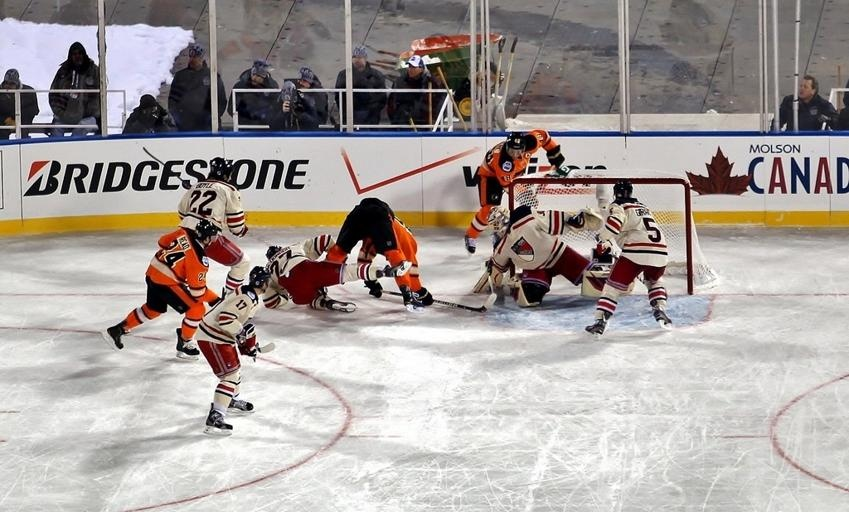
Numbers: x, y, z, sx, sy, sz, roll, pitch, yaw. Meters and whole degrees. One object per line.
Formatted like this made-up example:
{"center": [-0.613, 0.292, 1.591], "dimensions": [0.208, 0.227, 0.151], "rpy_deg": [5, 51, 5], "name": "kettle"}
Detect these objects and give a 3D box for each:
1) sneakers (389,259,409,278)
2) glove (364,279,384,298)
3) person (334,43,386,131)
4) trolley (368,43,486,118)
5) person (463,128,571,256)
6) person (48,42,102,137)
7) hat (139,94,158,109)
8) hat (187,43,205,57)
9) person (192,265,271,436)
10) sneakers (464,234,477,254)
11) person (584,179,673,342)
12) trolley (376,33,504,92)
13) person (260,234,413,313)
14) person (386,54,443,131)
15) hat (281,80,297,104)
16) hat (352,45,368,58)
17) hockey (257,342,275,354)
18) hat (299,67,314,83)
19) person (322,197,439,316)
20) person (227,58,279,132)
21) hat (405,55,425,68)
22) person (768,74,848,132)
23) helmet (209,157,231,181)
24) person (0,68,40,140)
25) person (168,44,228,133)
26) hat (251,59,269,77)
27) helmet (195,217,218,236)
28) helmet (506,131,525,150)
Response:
{"center": [-0.249, 0.125, 10.696], "dimensions": [0.281, 0.105, 0.100], "rpy_deg": [-22, -43, 27], "name": "sneakers"}
{"center": [-0.569, 0.334, 11.384], "dimensions": [0.107, 0.296, 0.131], "rpy_deg": [-37, 31, -2], "name": "glove"}
{"center": [-0.929, -2.435, 14.692], "dimensions": [0.744, 1.077, 0.261], "rpy_deg": [2, 8, -6], "name": "person"}
{"center": [0.059, -2.636, 15.273], "dimensions": [1.865, 0.745, 1.063], "rpy_deg": [1, 30, -2], "name": "trolley"}
{"center": [1.204, -0.901, 13.389], "dimensions": [1.486, 1.825, 1.098], "rpy_deg": [-7, 30, -1], "name": "person"}
{"center": [-5.028, -2.379, 14.589], "dimensions": [0.770, 1.296, 0.317], "rpy_deg": [3, 8, -3], "name": "person"}
{"center": [-4.036, -2.246, 14.832], "dimensions": [0.255, 0.200, 0.184], "rpy_deg": [1, 7, -16], "name": "hat"}
{"center": [-3.275, -2.899, 14.517], "dimensions": [0.213, 0.170, 0.160], "rpy_deg": [3, 7, 0], "name": "hat"}
{"center": [-1.738, 0.880, 9.083], "dimensions": [0.818, 1.567, 0.862], "rpy_deg": [1, 30, -19], "name": "person"}
{"center": [0.561, -0.148, 12.999], "dimensions": [0.138, 0.214, 0.148], "rpy_deg": [0, -4, -3], "name": "sneakers"}
{"center": [2.157, 0.001, 10.508], "dimensions": [0.834, 1.522, 0.998], "rpy_deg": [4, 8, 12], "name": "person"}
{"center": [0.281, -2.818, 15.529], "dimensions": [1.636, 0.437, 0.786], "rpy_deg": [3, -9, 23], "name": "trolley"}
{"center": [-0.974, 0.188, 10.889], "dimensions": [1.548, 0.684, 0.508], "rpy_deg": [3, 20, 18], "name": "person"}
{"center": [-0.149, -2.387, 14.824], "dimensions": [0.802, 0.972, 0.352], "rpy_deg": [3, 8, -1], "name": "person"}
{"center": [-1.948, -2.337, 14.577], "dimensions": [0.240, 0.304, 0.177], "rpy_deg": [1, 8, -17], "name": "hat"}
{"center": [-0.934, -2.911, 14.669], "dimensions": [0.162, 0.141, 0.266], "rpy_deg": [6, 7, 25], "name": "hat"}
{"center": [-1.389, 0.784, 8.842], "dimensions": [0.134, 0.033, 0.142], "rpy_deg": [2, 6, 37], "name": "hockey"}
{"center": [-1.702, -2.603, 14.732], "dimensions": [0.194, 0.185, 0.247], "rpy_deg": [12, -2, 7], "name": "hat"}
{"center": [-0.332, 0.071, 11.261], "dimensions": [1.161, 0.588, 1.822], "rpy_deg": [32, -33, -23], "name": "person"}
{"center": [-2.451, -2.274, 14.692], "dimensions": [0.811, 0.882, 0.290], "rpy_deg": [3, 1, 10], "name": "person"}
{"center": [-0.135, -2.823, 14.876], "dimensions": [0.210, 0.134, 0.295], "rpy_deg": [5, 3, 25], "name": "hat"}
{"center": [5.428, -2.140, 14.461], "dimensions": [1.008, 0.741, 0.250], "rpy_deg": [1, 8, -12], "name": "person"}
{"center": [-2.160, -0.898, 10.486], "dimensions": [0.238, 0.239, 0.257], "rpy_deg": [8, 22, -2], "name": "helmet"}
{"center": [-5.896, -2.184, 14.731], "dimensions": [0.488, 0.990, 0.746], "rpy_deg": [-3, 10, -40], "name": "person"}
{"center": [-3.404, -2.397, 14.658], "dimensions": [0.638, 1.203, 0.319], "rpy_deg": [2, 8, -4], "name": "person"}
{"center": [-2.387, -2.698, 14.668], "dimensions": [0.240, 0.258, 0.364], "rpy_deg": [2, 7, -1], "name": "hat"}
{"center": [-2.012, -0.270, 9.470], "dimensions": [0.191, 0.124, 0.117], "rpy_deg": [-28, -1, -18], "name": "helmet"}
{"center": [1.126, -1.442, 12.755], "dimensions": [0.235, 0.199, 0.257], "rpy_deg": [2, 7, 0], "name": "helmet"}
